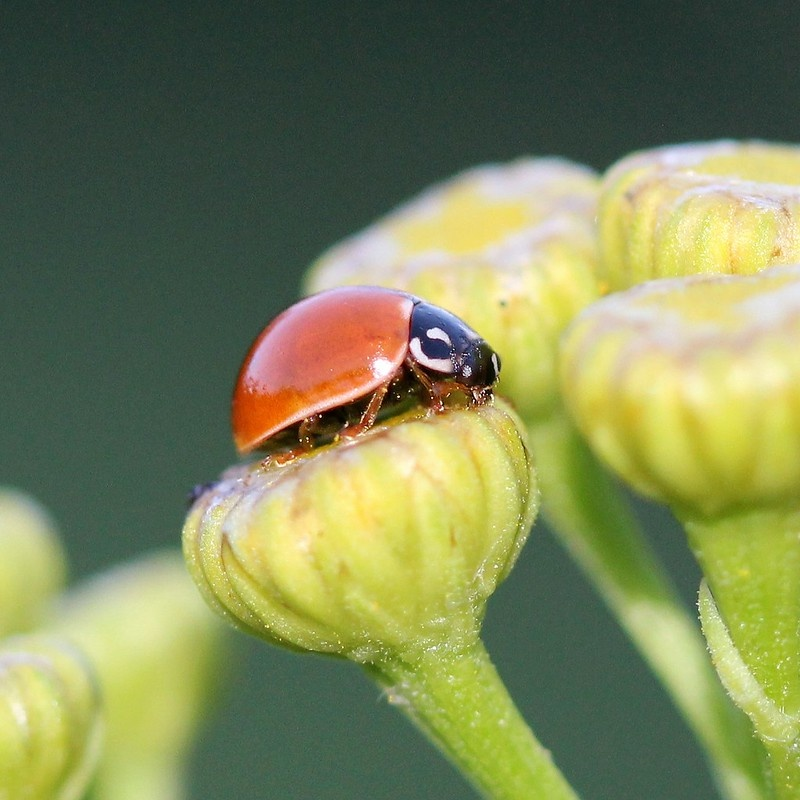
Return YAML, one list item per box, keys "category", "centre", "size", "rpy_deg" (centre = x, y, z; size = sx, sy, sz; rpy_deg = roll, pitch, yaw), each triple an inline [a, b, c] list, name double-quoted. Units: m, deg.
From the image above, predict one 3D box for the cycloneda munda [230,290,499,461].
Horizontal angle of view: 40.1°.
- category: "cycloneda munda"
  centre: [-0.029, -0.044, 1.177]
  size: [0.229, 0.188, 0.153]
  rpy_deg: [-4, 91, -15]
